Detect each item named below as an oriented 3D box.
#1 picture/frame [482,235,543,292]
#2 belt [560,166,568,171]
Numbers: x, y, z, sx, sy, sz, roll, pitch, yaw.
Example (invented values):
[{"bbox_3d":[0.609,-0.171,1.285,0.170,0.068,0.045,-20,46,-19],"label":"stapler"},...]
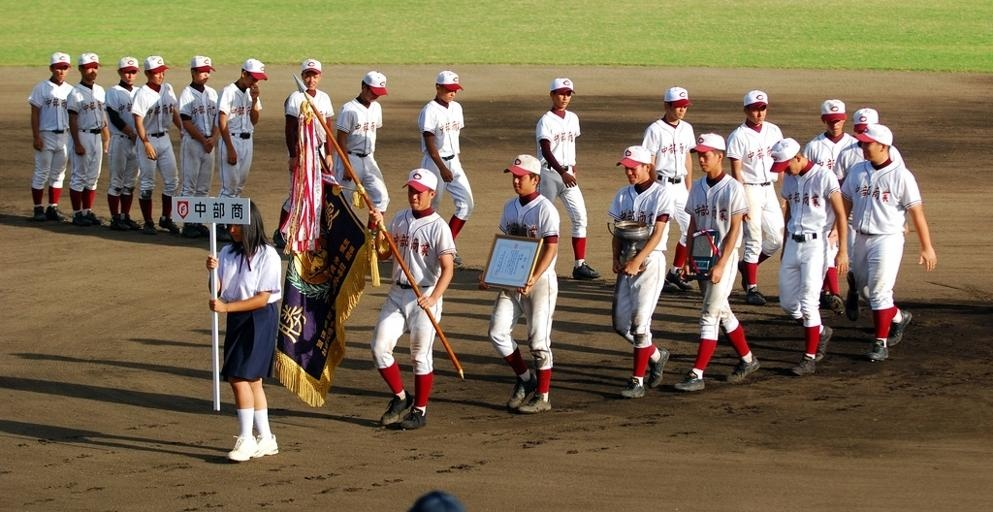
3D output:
[{"bbox_3d":[0.253,0.145,36.770,1.146,1.232,0.620,4,15,24],"label":"picture/frame"},{"bbox_3d":[1.688,-2.279,41.020,0.169,0.103,0.035,0,-22,-17],"label":"belt"}]
